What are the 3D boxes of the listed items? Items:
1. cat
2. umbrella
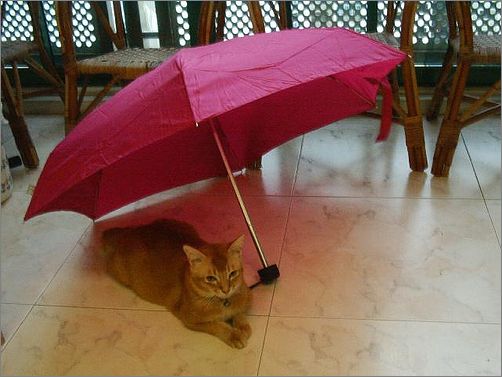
[{"bbox_3d":[-0.246,0.218,1.390,0.236,0.292,0.612,-28,47,-27],"label":"cat"},{"bbox_3d":[-0.133,-0.162,1.533,1.248,0.708,0.688,-19,33,-28],"label":"umbrella"}]
